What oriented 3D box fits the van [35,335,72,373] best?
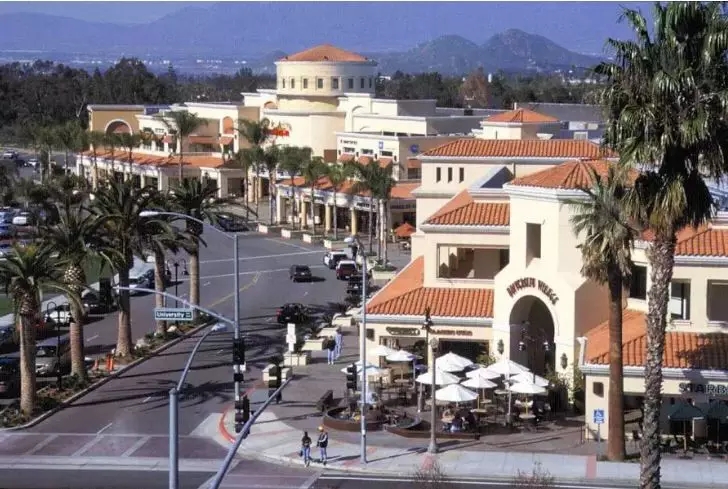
[{"bbox_3d":[-23.147,8.047,79.515,2.300,2.833,3.465,1,5,-8],"label":"van"}]

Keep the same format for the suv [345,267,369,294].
[{"bbox_3d":[-0.949,3.468,98.117,1.304,1.130,3.240,0,11,4],"label":"suv"}]

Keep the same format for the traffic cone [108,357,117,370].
[{"bbox_3d":[-18.703,8.759,79.344,0.626,0.923,0.625,3,0,-33],"label":"traffic cone"}]
